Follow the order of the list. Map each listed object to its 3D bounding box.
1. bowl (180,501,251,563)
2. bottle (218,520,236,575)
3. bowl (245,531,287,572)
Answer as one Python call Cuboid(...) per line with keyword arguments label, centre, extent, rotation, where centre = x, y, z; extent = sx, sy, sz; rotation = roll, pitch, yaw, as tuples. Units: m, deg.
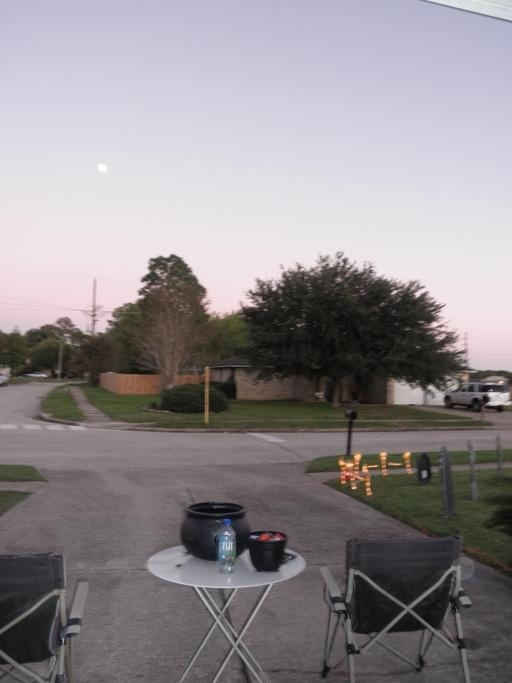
Cuboid(label="bowl", centre=(-0.256, 1.164, 4.356), extent=(0.422, 0.217, 0.380), rotation=(1, -7, 0))
Cuboid(label="bottle", centre=(-0.179, 1.217, 4.193), extent=(0.107, 0.305, 0.117), rotation=(2, -2, 0))
Cuboid(label="bowl", centre=(0.066, 1.275, 4.258), extent=(0.233, 0.198, 0.254), rotation=(2, -2, 0))
